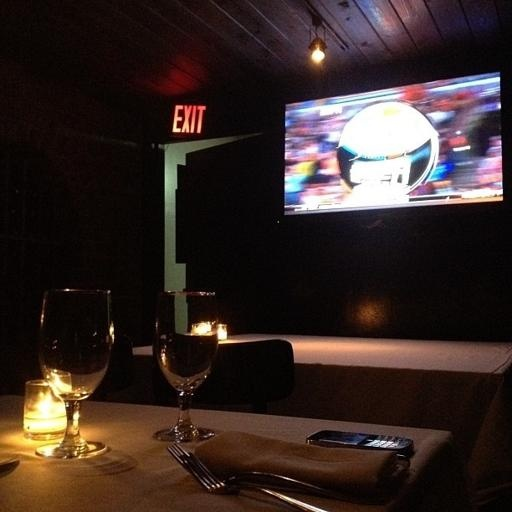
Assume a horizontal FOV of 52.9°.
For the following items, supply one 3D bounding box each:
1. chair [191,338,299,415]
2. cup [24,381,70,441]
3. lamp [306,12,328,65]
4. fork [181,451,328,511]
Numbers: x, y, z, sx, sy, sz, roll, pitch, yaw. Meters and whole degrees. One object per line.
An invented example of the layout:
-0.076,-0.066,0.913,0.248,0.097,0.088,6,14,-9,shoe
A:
-0.033,0.397,1.697,0.275,0.328,0.283,0,0,4,chair
-0.289,0.212,0.692,0.062,0.066,0.063,-4,-14,-1,cup
0.416,-1.469,3.492,0.129,0.312,0.113,-2,13,-4,lamp
0.002,0.213,0.482,0.023,0.021,0.184,17,-9,-32,fork
